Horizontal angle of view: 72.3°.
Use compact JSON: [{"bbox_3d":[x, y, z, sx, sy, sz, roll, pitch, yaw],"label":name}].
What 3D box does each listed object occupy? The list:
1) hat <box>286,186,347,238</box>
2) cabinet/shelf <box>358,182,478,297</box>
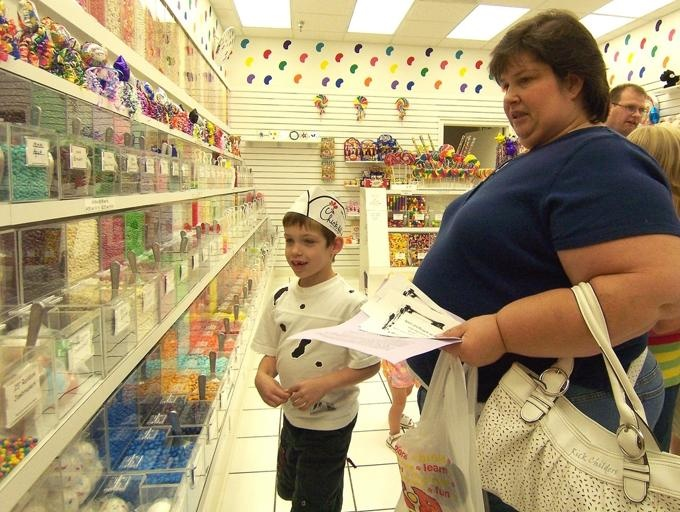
[{"bbox_3d":[-0.067,-0.198,1.935,0.161,0.152,0.240,14,-21,42],"label":"hat"},{"bbox_3d":[0.696,-0.237,5.231,1.474,1.105,0.819,1,11,1],"label":"cabinet/shelf"}]
